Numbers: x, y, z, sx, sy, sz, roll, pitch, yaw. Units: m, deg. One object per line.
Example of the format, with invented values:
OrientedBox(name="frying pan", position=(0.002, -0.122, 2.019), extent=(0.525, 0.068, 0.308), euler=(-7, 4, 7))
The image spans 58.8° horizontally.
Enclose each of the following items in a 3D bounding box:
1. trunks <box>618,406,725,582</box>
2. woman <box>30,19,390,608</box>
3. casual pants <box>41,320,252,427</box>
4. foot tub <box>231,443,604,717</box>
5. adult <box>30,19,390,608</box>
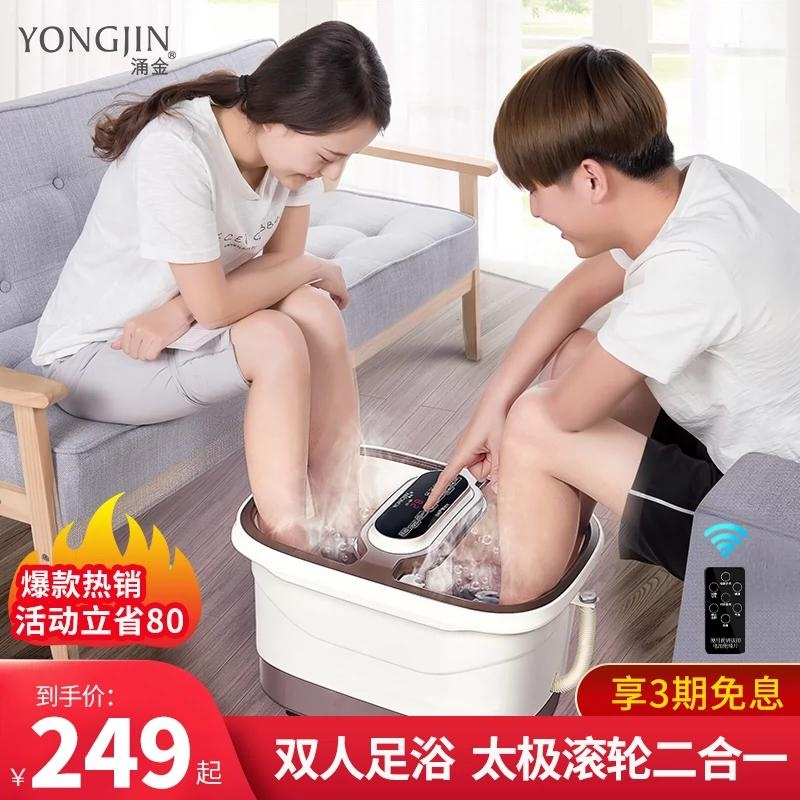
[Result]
OrientedBox(name="trunks", position=(0.318, 0.101, 0.810), extent=(0.142, 0.167, 0.062), euler=(12, 12, 33))
OrientedBox(name="woman", position=(-0.280, -0.206, 1.144), extent=(0.580, 0.691, 0.428), euler=(9, 21, 32))
OrientedBox(name="casual pants", position=(-0.442, -0.026, 1.179), extent=(0.328, 0.083, 0.325), euler=(2, -13, 31))
OrientedBox(name="foot tub", position=(0.017, 0.264, 0.963), extent=(0.467, 0.194, 0.317), euler=(8, 26, 17))
OrientedBox(name="adult", position=(-0.280, -0.206, 1.144), extent=(0.580, 0.691, 0.428), euler=(9, 21, 32))
